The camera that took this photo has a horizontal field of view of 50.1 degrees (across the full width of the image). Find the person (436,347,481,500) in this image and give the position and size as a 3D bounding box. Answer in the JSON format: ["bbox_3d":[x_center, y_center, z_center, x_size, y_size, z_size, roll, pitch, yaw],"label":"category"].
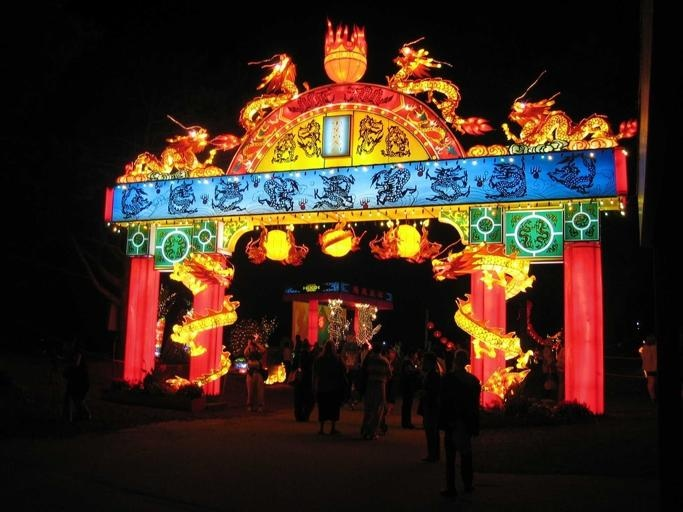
[{"bbox_3d":[1.555,2.212,9.785,0.498,1.847,0.731,-1,-2,39],"label":"person"}]
